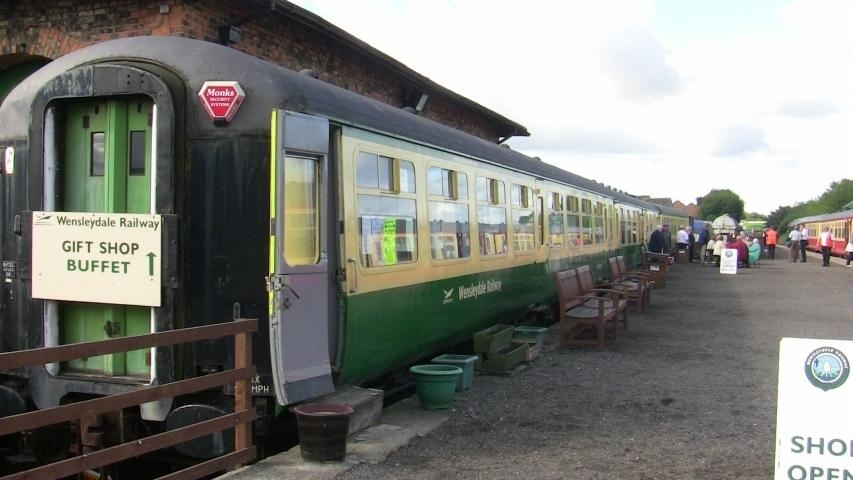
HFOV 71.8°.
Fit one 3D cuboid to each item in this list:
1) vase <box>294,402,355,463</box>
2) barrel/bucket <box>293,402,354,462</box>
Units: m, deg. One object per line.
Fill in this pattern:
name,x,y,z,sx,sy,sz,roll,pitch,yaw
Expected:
vase,-1.236,2.233,7.150,0.665,0.481,0.678,0,-1,29
barrel/bucket,-1.265,2.271,7.113,0.688,0.485,0.662,1,-3,0
